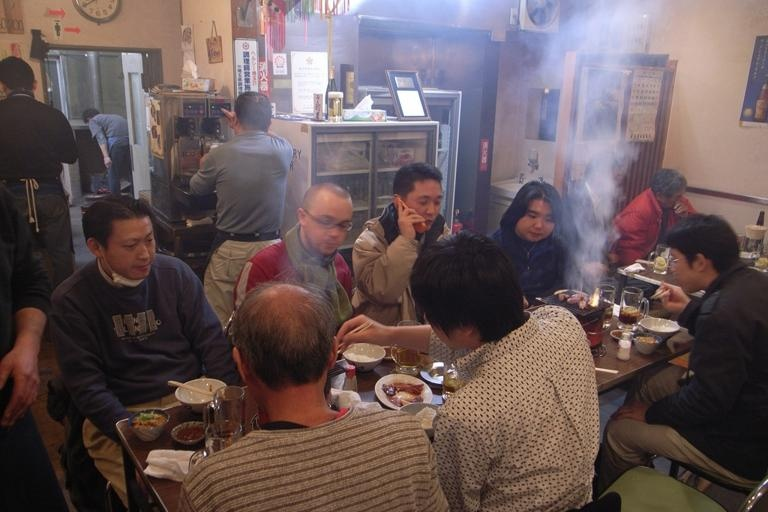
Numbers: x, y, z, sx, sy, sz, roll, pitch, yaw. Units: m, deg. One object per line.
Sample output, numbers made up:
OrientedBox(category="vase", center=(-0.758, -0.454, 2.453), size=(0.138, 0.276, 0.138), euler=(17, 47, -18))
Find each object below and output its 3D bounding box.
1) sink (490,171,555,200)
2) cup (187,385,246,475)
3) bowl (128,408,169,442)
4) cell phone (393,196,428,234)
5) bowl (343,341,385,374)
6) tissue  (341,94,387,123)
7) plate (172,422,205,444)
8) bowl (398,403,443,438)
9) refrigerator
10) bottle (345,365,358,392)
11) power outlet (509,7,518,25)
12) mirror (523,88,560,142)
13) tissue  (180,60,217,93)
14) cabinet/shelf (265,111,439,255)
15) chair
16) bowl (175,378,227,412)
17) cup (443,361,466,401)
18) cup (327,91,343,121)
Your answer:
OrientedBox(category="sink", center=(1.557, -0.867, 6.859), size=(0.611, 0.258, 0.591), euler=(-9, 18, -33))
OrientedBox(category="cup", center=(-0.746, 0.754, 2.503), size=(0.229, 0.265, 0.212), euler=(1, 15, 0))
OrientedBox(category="bowl", center=(-1.140, 0.817, 2.687), size=(0.196, 0.111, 0.204), euler=(-14, -21, -6))
OrientedBox(category="cell phone", center=(0.171, -0.270, 3.604), size=(0.240, 0.172, 0.071), euler=(44, 23, 2))
OrientedBox(category="bowl", center=(-0.106, 0.543, 3.040), size=(0.241, 0.110, 0.169), euler=(1, 15, -2))
OrientedBox(category="tissue ", center=(-0.205, -1.378, 5.218), size=(0.274, 0.232, 0.434), euler=(11, 18, 34))
OrientedBox(category="plate", center=(-0.913, 0.823, 2.612), size=(0.095, 0.025, 0.093), euler=(-5, 26, -18))
OrientedBox(category="bowl", center=(0.187, 0.748, 2.667), size=(0.215, 0.082, 0.213), euler=(2, 15, -1))
OrientedBox(category="refrigerator", center=(-0.066, -0.662, 5.677), size=(1.342, 1.215, 0.499), euler=(3, -1, 28))
OrientedBox(category="bottle", center=(-0.169, 0.606, 2.873), size=(0.070, 0.149, 0.205), euler=(0, 15, -4))
OrientedBox(category="power outlet", center=(1.506, -2.777, 6.480), size=(0.096, 0.187, 0.108), euler=(1, 15, 1))
OrientedBox(category="mirror", center=(1.915, -1.710, 6.771), size=(0.118, 0.616, 0.522), euler=(-7, 17, -26))
OrientedBox(category="tissue ", center=(-1.771, -1.719, 5.339), size=(0.273, 0.253, 0.218), euler=(1, 23, 3))
OrientedBox(category="cabinet/shelf", center=(-0.220, -0.726, 5.670), size=(1.422, 1.205, 0.529), euler=(-11, 19, -35))
OrientedBox(category="chair", center=(1.317, 0.860, 4.201), size=(3.541, 1.475, 0.828), euler=(2, -10, -4))
OrientedBox(category="bowl", center=(-0.906, 0.672, 2.758), size=(0.215, 0.084, 0.169), euler=(-6, 28, -20))
OrientedBox(category="cup", center=(0.336, 0.626, 2.778), size=(0.087, 0.191, 0.150), euler=(-7, 17, -28))
OrientedBox(category="cup", center=(-0.444, -1.356, 5.057), size=(0.143, 0.253, 0.212), euler=(-1, 15, -6))
